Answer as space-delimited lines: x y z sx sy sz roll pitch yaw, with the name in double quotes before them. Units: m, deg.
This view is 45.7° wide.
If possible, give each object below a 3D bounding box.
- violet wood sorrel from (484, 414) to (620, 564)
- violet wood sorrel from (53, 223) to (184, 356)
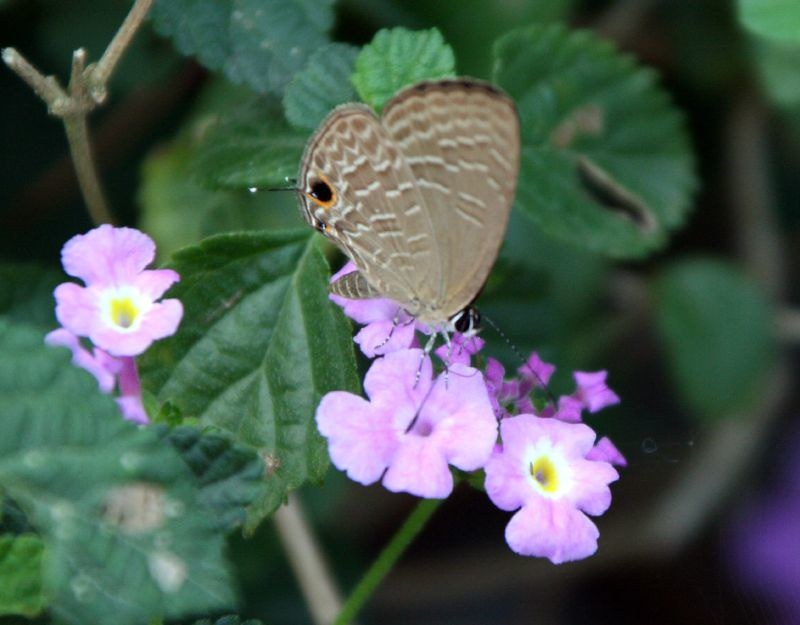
"violet wood sorrel" 0.269 0.300 1.726 0.254 0.080 0.303 3 37 18
"violet wood sorrel" -0.524 -0.019 1.782 0.211 0.246 0.115 5 42 -32
